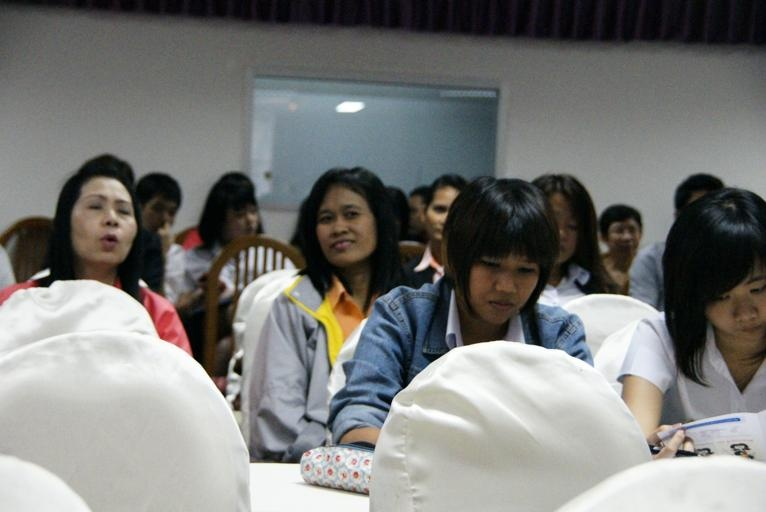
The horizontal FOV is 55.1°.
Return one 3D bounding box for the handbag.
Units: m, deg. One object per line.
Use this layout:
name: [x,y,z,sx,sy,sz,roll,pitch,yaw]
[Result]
handbag: [-0.064,0.305,1.077,0.123,0.077,0.045,-1,6,23]
